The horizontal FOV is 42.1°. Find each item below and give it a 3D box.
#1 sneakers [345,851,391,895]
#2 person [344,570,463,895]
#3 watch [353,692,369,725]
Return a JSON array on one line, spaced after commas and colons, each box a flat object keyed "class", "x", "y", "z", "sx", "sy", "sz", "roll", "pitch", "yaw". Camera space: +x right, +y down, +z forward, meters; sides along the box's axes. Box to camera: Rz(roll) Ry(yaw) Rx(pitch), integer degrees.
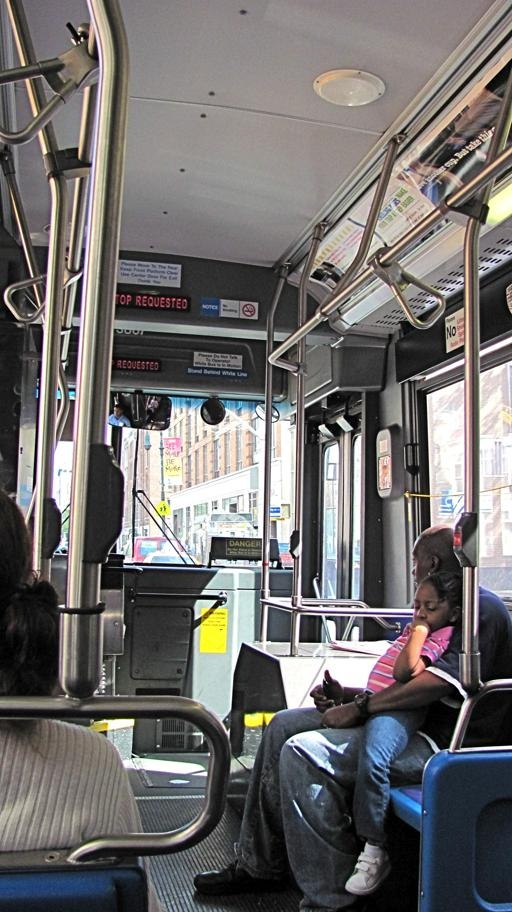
[{"class": "sneakers", "x": 0.329, "y": 1.273, "z": 2.077, "sx": 0.075, "sy": 0.124, "sz": 0.207, "roll": 1, "pitch": -14, "yaw": 33}, {"class": "person", "x": 0.534, "y": 0.939, "z": 2.350, "sx": 0.371, "sy": 1.034, "sz": 0.676, "roll": -1, "pitch": -8, "yaw": 17}, {"class": "watch", "x": 0.388, "y": 0.920, "z": 2.438, "sx": 0.058, "sy": 0.098, "sz": 0.100, "roll": 0, "pitch": 35, "yaw": 15}]
